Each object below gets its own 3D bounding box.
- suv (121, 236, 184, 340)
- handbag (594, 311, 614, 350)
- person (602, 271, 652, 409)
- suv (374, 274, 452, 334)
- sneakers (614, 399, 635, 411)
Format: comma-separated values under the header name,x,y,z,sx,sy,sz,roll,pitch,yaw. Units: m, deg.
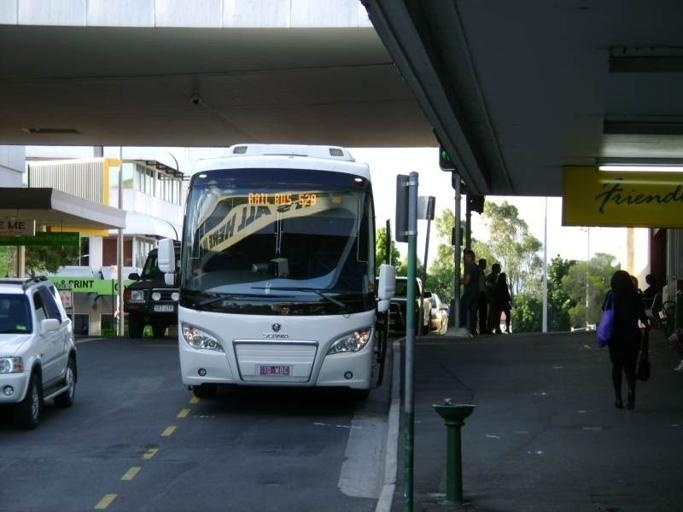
name,x,y,z,sx,sy,sz,roll,pitch,yaw
suv,-6.426,1.129,26.169,2.637,2.988,4.864,0,-6,0
handbag,4.286,1.182,12.562,0.220,0.753,0.064,-2,-41,35
person,4.637,1.359,12.646,0.620,2.285,0.808,1,0,35
suv,2.912,2.077,30.957,2.166,1.710,4.294,-1,-7,10
sneakers,4.659,2.407,12.600,0.287,0.152,0.370,1,0,35
